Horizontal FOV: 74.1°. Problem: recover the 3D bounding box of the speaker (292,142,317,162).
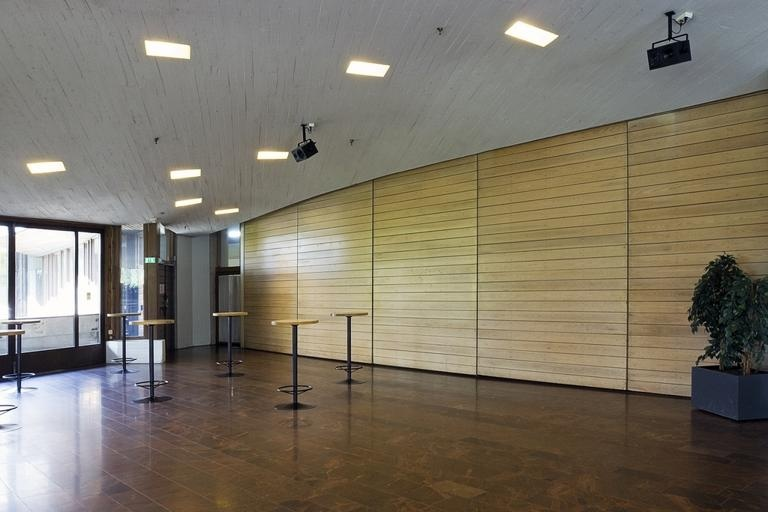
[{"bbox_3d":[-1.212,-1.584,7.662,0.407,0.277,0.241,1,4,41],"label":"speaker"}]
